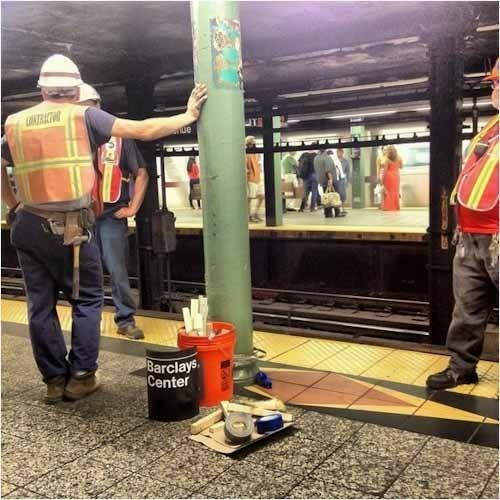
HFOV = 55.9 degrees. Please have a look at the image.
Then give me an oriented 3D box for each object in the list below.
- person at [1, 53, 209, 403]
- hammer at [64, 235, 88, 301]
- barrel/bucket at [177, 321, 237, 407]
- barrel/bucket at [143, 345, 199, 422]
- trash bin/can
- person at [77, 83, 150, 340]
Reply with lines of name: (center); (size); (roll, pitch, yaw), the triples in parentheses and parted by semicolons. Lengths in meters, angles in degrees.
person: (-1.318, -0.181, 3.683); (1.226, 2.703, 0.567); (-2, 4, -11)
hammer: (-1.340, 0.127, 3.633); (0.145, 0.490, 0.247); (1, -2, -21)
barrel/bucket: (-0.338, 0.850, 3.708); (0.408, 0.649, 0.417); (2, 13, -1)
barrel/bucket: (-0.499, 0.922, 3.401); (0.376, 0.462, 0.448); (-1, 3, -2)
trash bin/can: (-0.377, 0.840, 3.754); (0.450, 0.594, 0.489); (1, 4, 28)
person: (-1.542, -0.341, 5.525); (0.796, 3.023, 0.957); (0, 19, -26)
